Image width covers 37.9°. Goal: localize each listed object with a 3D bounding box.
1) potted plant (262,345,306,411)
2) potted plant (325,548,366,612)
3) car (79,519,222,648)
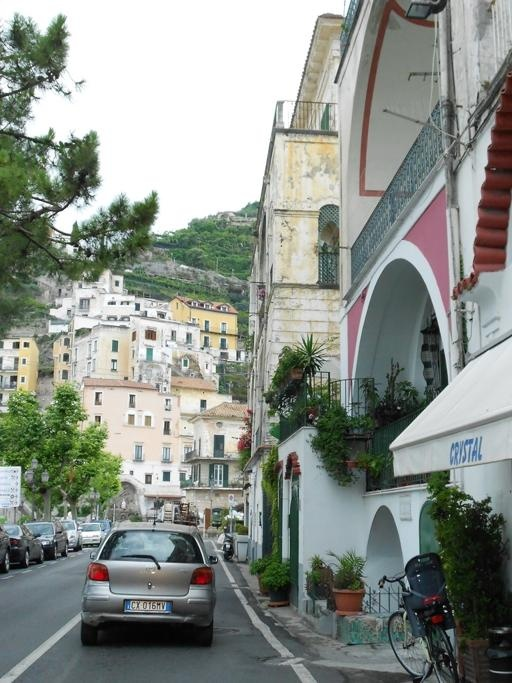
[{"bbox_3d":[0.659,0.849,17.357,0.627,0.652,2.143,-3,-25,-11],"label":"potted plant"},{"bbox_3d":[1.311,3.514,10.723,0.761,1.046,0.758,1,-23,1],"label":"potted plant"},{"bbox_3d":[-1.128,2.703,8.398,0.954,0.895,1.695,1,-6,0],"label":"car"}]
